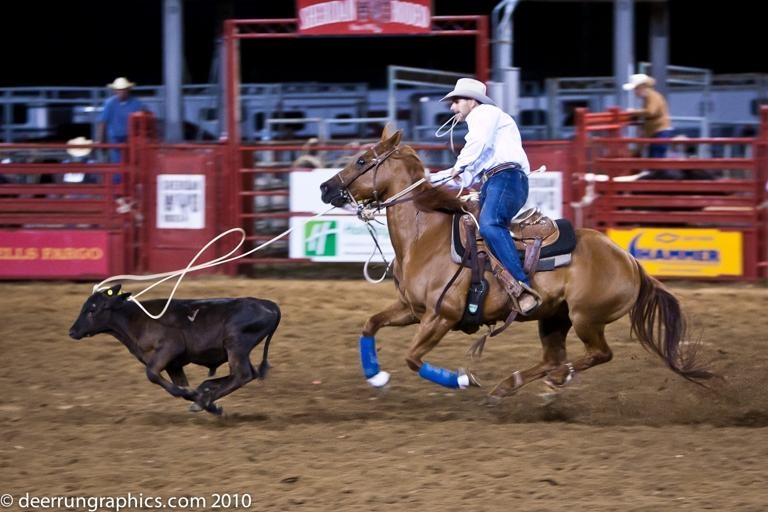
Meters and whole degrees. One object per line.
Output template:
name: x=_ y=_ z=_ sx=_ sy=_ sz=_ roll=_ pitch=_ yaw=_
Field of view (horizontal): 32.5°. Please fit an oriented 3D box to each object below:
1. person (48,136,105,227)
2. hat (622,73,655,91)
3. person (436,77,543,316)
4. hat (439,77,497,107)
person: x=-4.524 y=-1.201 z=19.660 sx=0.930 sy=1.242 sz=0.388 roll=0 pitch=-6 yaw=2
hat: x=3.927 y=-2.591 z=19.463 sx=0.577 sy=0.134 sz=0.358 roll=-10 pitch=5 yaw=-33
person: x=1.252 y=-0.699 z=14.971 sx=1.170 sy=2.682 sz=0.615 roll=1 pitch=6 yaw=18
hat: x=0.966 y=-1.903 z=15.017 sx=0.562 sy=0.160 sz=0.367 roll=7 pitch=0 yaw=-3
